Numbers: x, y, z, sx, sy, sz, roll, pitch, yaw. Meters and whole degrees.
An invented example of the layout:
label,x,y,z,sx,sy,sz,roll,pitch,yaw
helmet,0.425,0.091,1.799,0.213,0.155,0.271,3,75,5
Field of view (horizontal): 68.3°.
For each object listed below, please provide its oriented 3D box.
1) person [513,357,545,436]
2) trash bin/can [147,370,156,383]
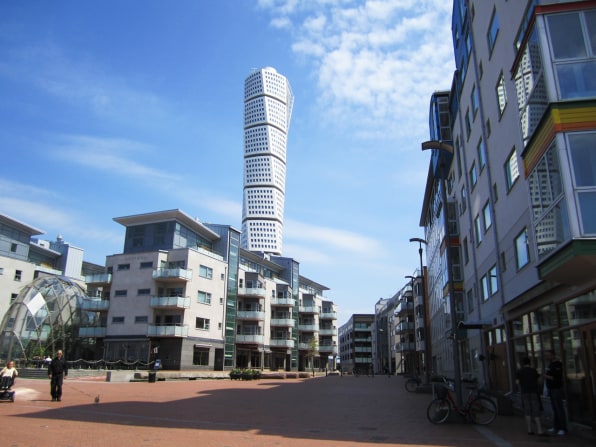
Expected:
label,x,y,z,sx,sy,sz,roll,pitch,yaw
person,6.758,5.093,12.849,0.579,1.926,0.493,-4,-20,14
trash bin/can,-11.140,11.566,33.431,0.640,1.038,0.753,-8,-12,16
